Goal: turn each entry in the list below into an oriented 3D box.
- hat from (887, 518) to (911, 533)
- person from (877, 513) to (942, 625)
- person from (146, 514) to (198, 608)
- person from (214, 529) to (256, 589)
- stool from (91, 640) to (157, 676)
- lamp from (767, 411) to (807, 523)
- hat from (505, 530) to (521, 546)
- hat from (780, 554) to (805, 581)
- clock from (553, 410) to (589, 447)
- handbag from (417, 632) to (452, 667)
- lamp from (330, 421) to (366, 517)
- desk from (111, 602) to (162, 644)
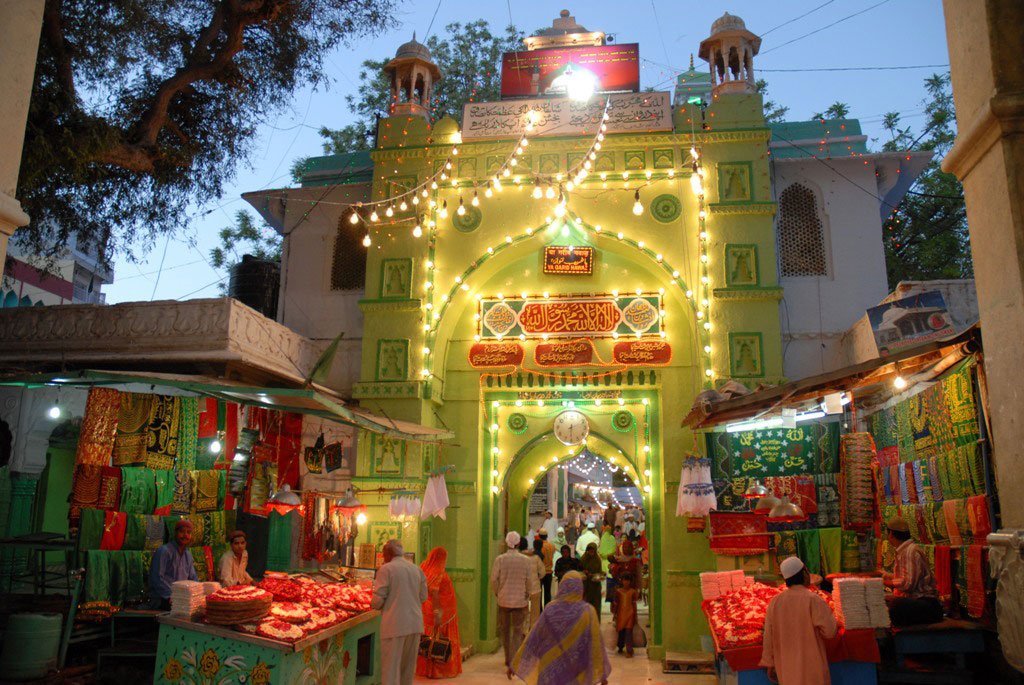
[{"bbox_3d":[4.447,2.067,9.254,0.237,0.128,0.330,0,-3,27],"label":"hat"},{"bbox_3d":[4.417,2.545,9.129,0.721,1.027,0.743,-8,-11,26],"label":"person"},{"bbox_3d":[-4.166,2.655,9.810,0.604,1.109,0.661,-11,-20,9],"label":"person"},{"bbox_3d":[-3.502,2.801,10.247,0.463,0.790,0.560,-4,-11,-12],"label":"person"},{"bbox_3d":[-4.514,3.699,9.404,0.379,0.268,0.535,2,-11,-7],"label":"stool"},{"bbox_3d":[3.684,1.688,10.918,0.441,1.434,2.409,-6,-18,18],"label":"lamp"},{"bbox_3d":[0.024,2.963,12.454,0.210,0.295,0.287,2,21,0],"label":"hat"},{"bbox_3d":[2.913,2.318,8.369,0.212,0.142,0.284,-14,20,26],"label":"hat"},{"bbox_3d":[1.019,1.416,13.782,0.768,0.819,0.112,-1,-19,8],"label":"clock"},{"bbox_3d":[-1.070,4.460,11.947,0.684,0.468,0.308,1,-26,18],"label":"handbag"},{"bbox_3d":[-2.535,1.898,12.539,0.444,1.485,1.717,3,-17,-10],"label":"lamp"},{"bbox_3d":[-4.517,3.373,9.712,0.669,0.435,0.384,1,-1,9],"label":"desk"}]
